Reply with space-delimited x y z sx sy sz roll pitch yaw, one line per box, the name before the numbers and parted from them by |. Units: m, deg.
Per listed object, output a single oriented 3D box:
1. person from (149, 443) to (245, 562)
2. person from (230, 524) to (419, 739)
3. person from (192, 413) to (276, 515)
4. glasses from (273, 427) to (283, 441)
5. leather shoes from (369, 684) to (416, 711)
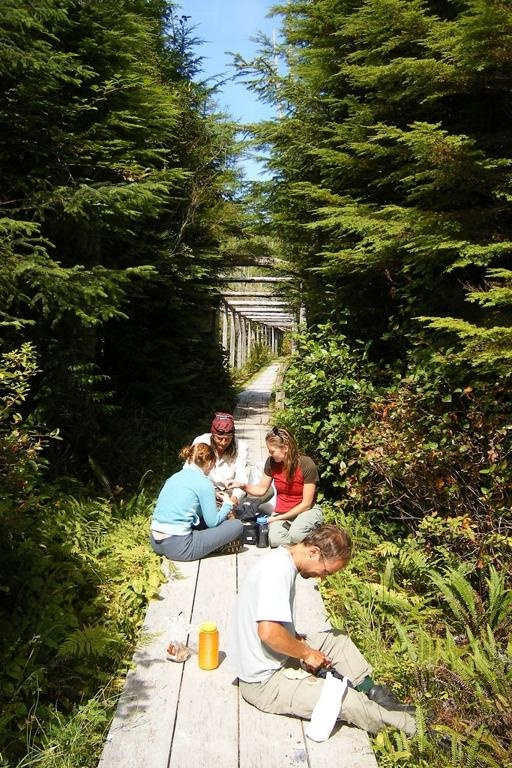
person | -0.400 0.881 4.565 0.626 0.819 0.692 0 -2 24
person | 0.348 1.120 2.837 0.876 0.862 0.611 5 -6 23
person | -0.287 0.732 5.189 0.722 0.845 0.711 -12 16 -38
glasses | 0.165 0.369 4.494 0.055 0.097 0.038 -21 -7 1
leather shoes | 0.597 1.404 2.709 0.097 0.050 0.158 23 -14 -25
